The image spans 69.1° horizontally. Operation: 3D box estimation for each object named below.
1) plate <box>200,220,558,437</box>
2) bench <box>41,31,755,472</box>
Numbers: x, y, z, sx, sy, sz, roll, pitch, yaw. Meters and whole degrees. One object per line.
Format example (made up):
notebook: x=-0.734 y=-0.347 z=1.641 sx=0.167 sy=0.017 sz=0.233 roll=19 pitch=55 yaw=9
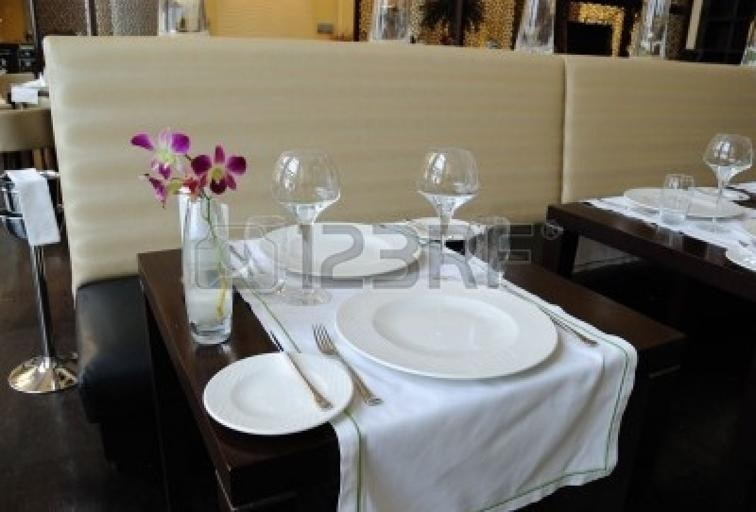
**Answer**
plate: x=0.008 y=0.103 z=0.987 sx=0.630 sy=0.239 sz=0.313 roll=-5 pitch=20 yaw=-16
bench: x=0.010 y=-0.035 z=1.473 sx=1.378 sy=0.665 sz=0.637 roll=-6 pitch=37 yaw=-19
